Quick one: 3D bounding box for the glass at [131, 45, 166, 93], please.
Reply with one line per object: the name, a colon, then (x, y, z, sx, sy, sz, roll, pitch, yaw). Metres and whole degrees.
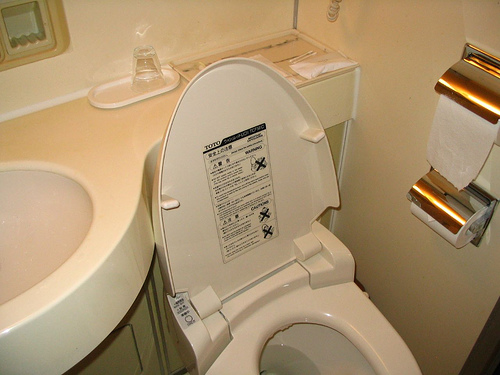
glass: (-0.274, -0.330, 1.137, 0.111, 0.118, 0.120, -2, -54, -2)

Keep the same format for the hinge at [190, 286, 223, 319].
hinge: (-0.109, 0.285, 0.965, 0.063, 0.069, 0.030, -26, -13, -18)

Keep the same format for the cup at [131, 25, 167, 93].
cup: (-0.290, -0.365, 1.094, 0.096, 0.103, 0.151, -19, -49, -14)

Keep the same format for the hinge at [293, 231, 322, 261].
hinge: (0.161, 0.163, 1.115, 0.081, 0.063, 0.068, -22, -46, -26)
